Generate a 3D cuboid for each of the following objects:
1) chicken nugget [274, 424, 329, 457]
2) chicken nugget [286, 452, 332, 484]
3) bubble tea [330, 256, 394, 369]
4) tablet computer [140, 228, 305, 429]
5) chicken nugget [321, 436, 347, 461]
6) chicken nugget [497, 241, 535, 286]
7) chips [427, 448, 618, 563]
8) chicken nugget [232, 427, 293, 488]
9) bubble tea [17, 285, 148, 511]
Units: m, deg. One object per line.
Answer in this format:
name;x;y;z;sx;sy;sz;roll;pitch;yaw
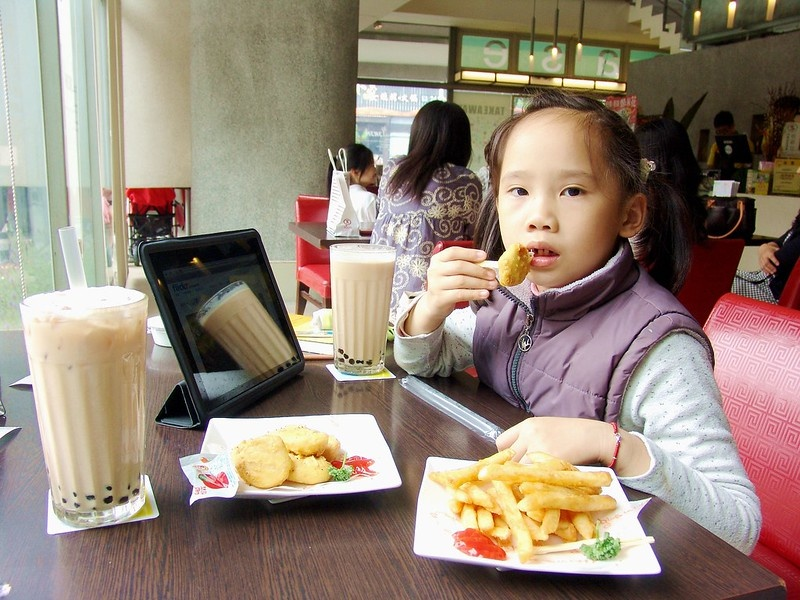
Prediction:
chicken nugget;-0.134;0.196;0.763;0.049;0.019;0.044;5;-3;16
chicken nugget;-0.125;0.226;0.736;0.038;0.017;0.049;3;3;-9
bubble tea;-0.087;0.020;1.205;0.107;0.257;0.121;1;8;-14
tablet computer;-0.302;0.036;1.034;0.189;0.328;0.329;0;11;-41
chicken nugget;-0.096;0.212;0.788;0.028;0.030;0.037;-1;-1;2
chicken nugget;0.197;-0.057;0.945;0.026;0.071;0.053;31;-34;-33
chips;0.153;0.241;0.726;0.200;0.099;0.147;-2;9;-31
chicken nugget;-0.182;0.200;0.707;0.063;0.065;0.019;-10;-6;-13
bubble tea;-0.394;0.120;0.735;0.147;0.283;0.149;11;13;42
